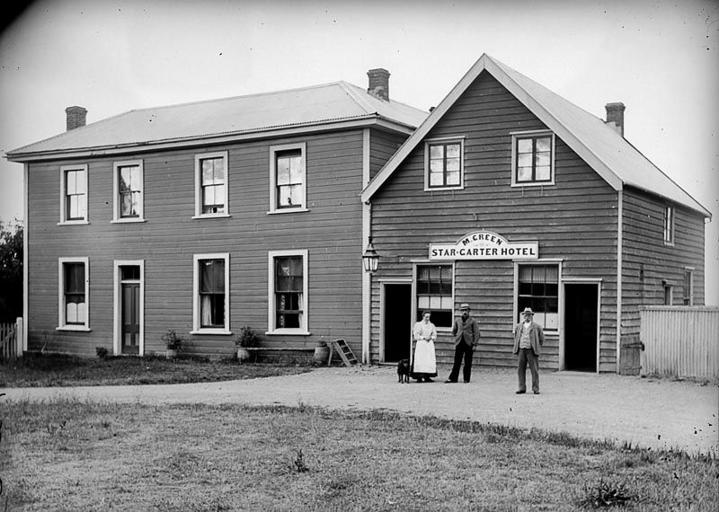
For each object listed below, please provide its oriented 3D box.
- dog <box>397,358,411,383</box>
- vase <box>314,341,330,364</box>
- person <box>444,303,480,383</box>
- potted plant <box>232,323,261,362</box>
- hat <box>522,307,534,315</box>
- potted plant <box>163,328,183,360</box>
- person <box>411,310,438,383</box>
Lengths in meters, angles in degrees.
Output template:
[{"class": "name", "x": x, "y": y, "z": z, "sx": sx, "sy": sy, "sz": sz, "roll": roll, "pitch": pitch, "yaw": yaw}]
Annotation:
[{"class": "dog", "x": 1.249, "y": 3.288, "z": 28.027, "sx": 0.330, "sy": 0.676, "sz": 0.966, "roll": 0, "pitch": 3, "yaw": 2}, {"class": "vase", "x": -1.249, "y": 3.246, "z": 32.685, "sx": 0.599, "sy": 1.138, "sz": 0.665, "roll": 1, "pitch": -8, "yaw": -1}, {"class": "person", "x": 2.937, "y": 2.539, "z": 28.179, "sx": 0.860, "sy": 2.193, "sz": 1.209, "roll": 0, "pitch": 4, "yaw": 11}, {"class": "potted plant", "x": -4.217, "y": 3.036, "z": 34.411, "sx": 0.870, "sy": 1.128, "sz": 0.938, "roll": 12, "pitch": -2, "yaw": 42}, {"class": "hat", "x": 4.569, "y": 1.484, "z": 26.941, "sx": 0.339, "sy": 0.160, "sz": 0.405, "roll": 2, "pitch": -8, "yaw": 3}, {"class": "potted plant", "x": -6.751, "y": 3.249, "z": 35.696, "sx": 0.823, "sy": 1.306, "sz": 0.852, "roll": 1, "pitch": -8, "yaw": -8}, {"class": "person", "x": 1.841, "y": 2.666, "z": 28.343, "sx": 0.657, "sy": 1.912, "sz": 0.807, "roll": 0, "pitch": 4, "yaw": 5}]
